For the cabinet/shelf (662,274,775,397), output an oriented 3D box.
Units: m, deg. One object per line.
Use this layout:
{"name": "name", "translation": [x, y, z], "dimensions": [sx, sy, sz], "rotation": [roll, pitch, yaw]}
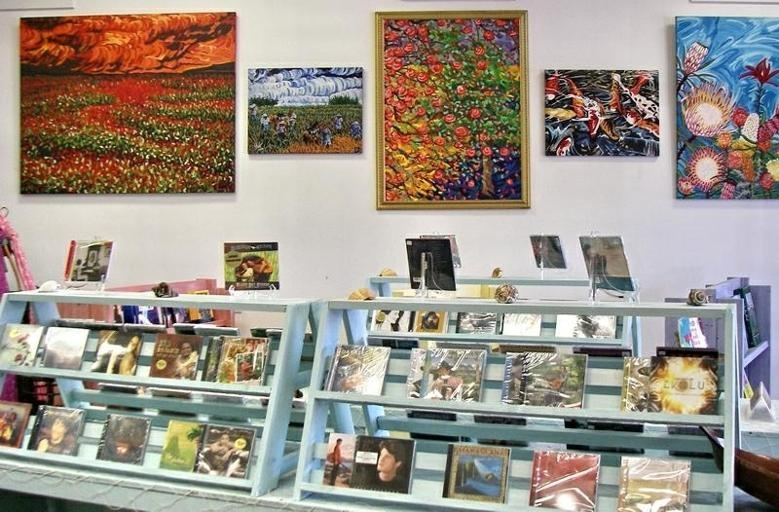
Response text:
{"name": "cabinet/shelf", "translation": [2.575, 0.622, 4.617], "dimensions": [0.556, 1.294, 1.318], "rotation": [-1, 0, 31]}
